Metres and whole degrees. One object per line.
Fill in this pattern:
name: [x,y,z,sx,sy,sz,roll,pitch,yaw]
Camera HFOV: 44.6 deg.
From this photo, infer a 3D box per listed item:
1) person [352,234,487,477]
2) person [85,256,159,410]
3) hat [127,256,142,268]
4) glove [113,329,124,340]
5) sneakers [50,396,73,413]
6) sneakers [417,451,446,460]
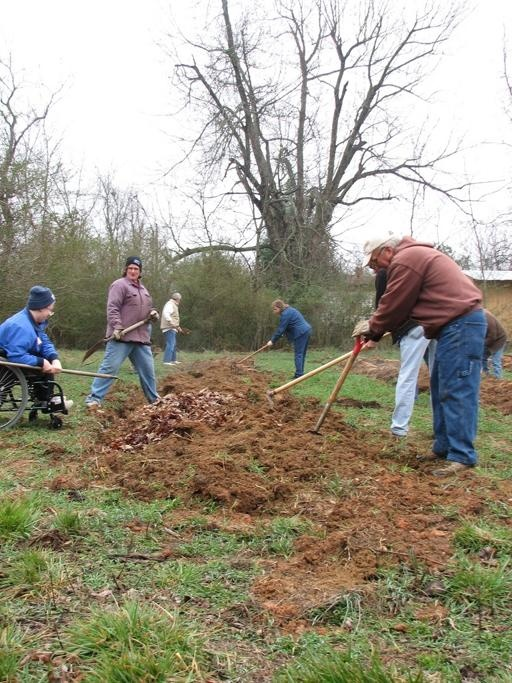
person: [1.368,0.052,5.096,0.714,1.837,1.151,-3,8,-11]
person: [-1.694,-0.092,7.880,0.904,1.948,1.415,-3,8,-9]
hat: [-1.536,-1.010,7.880,0.140,0.135,0.179,32,-5,-32]
glove: [-1.683,-0.084,7.539,0.138,0.097,0.058,-19,30,30]
sneakers: [-2.103,0.652,6.637,0.264,0.156,0.093,-1,14,26]
sneakers: [1.431,0.938,5.133,0.225,0.080,0.074,-7,-9,12]
